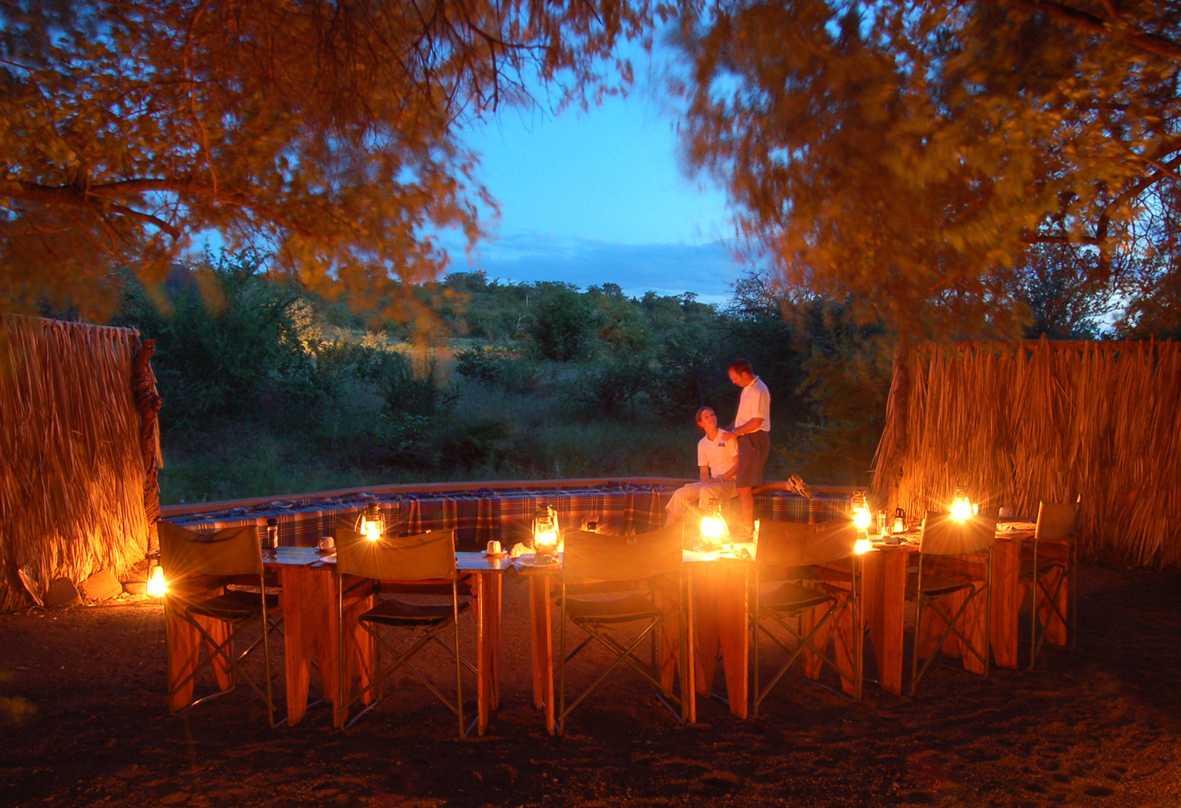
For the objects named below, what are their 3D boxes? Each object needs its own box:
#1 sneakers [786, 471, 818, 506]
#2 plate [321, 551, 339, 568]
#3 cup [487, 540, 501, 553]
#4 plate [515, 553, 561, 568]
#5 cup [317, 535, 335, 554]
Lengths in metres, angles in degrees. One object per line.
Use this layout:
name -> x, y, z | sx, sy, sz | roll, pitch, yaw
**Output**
sneakers -> 2.318, 0.915, 10.779 | 0.246, 0.426, 0.160 | -19, -8, 10
plate -> -1.787, 1.039, 6.703 | 0.099, 0.088, 0.344 | -1, -1, -15
cup -> -0.665, 0.961, 6.744 | 0.075, 0.070, 0.079 | 1, 1, 0
plate -> -0.365, 1.041, 6.682 | 0.322, 0.114, 0.422 | -2, -1, -5
cup -> -1.860, 0.974, 6.921 | 0.109, 0.083, 0.115 | 1, 1, 0
